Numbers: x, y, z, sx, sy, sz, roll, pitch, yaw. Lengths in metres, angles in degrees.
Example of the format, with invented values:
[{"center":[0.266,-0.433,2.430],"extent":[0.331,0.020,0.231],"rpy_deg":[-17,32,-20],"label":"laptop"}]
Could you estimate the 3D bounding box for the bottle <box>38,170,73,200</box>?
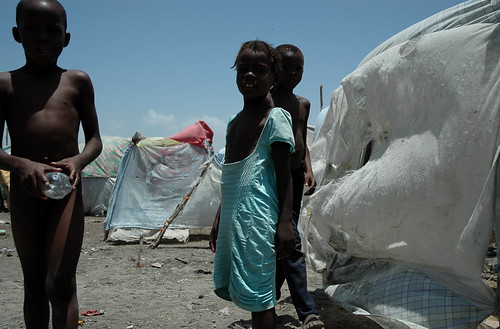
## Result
[{"center":[-1.290,0.132,3.426],"extent":[0.185,0.166,0.119],"rpy_deg":[-2,-2,-26],"label":"bottle"}]
